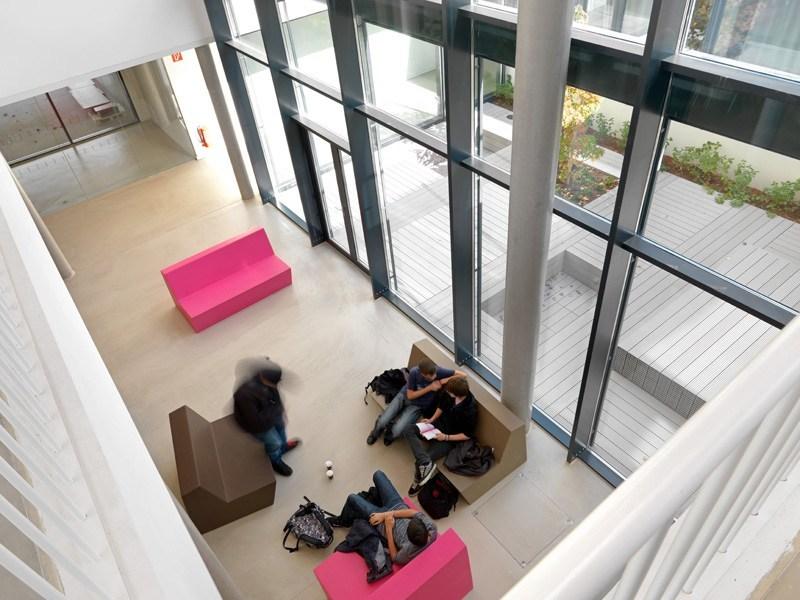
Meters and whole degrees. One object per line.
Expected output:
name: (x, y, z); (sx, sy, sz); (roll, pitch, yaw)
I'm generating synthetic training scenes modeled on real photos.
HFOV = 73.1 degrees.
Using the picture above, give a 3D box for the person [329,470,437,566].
person: (-0.010, 2.058, 5.351); (0.423, 1.204, 0.679); (-39, 88, -14)

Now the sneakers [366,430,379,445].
sneakers: (-0.320, 1.616, 6.330); (0.057, 0.107, 0.155); (27, 52, 9)

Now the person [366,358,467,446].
person: (0.123, 1.169, 6.178); (0.538, 1.305, 0.714); (45, 30, 22)

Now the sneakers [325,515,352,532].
sneakers: (-0.634, 2.316, 5.609); (0.245, 0.119, 0.091); (32, 51, 22)

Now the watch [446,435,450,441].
watch: (0.517, 1.486, 5.817); (0.013, 0.054, 0.054); (-4, 3, -29)

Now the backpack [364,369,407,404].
backpack: (-0.107, 0.991, 6.613); (0.337, 0.136, 0.437); (28, 63, 24)

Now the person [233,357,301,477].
person: (-1.492, 1.353, 6.004); (0.475, 1.212, 0.454); (-6, 62, 0)

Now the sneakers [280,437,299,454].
sneakers: (-1.288, 1.718, 6.408); (0.114, 0.069, 0.187); (39, 35, 9)

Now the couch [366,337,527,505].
couch: (0.615, 1.131, 6.304); (1.359, 0.830, 1.991); (-31, 47, -26)

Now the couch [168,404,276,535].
couch: (-1.901, 1.978, 6.262); (1.157, 1.282, 1.311); (-16, 47, -18)

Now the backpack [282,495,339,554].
backpack: (-0.939, 2.324, 5.571); (0.470, 0.182, 0.490); (27, 57, 16)

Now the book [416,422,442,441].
book: (0.311, 1.417, 5.882); (0.161, 0.073, 0.233); (-20, 46, -17)

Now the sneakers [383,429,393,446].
sneakers: (-0.133, 1.605, 6.245); (0.079, 0.085, 0.196); (-2, 41, -3)
